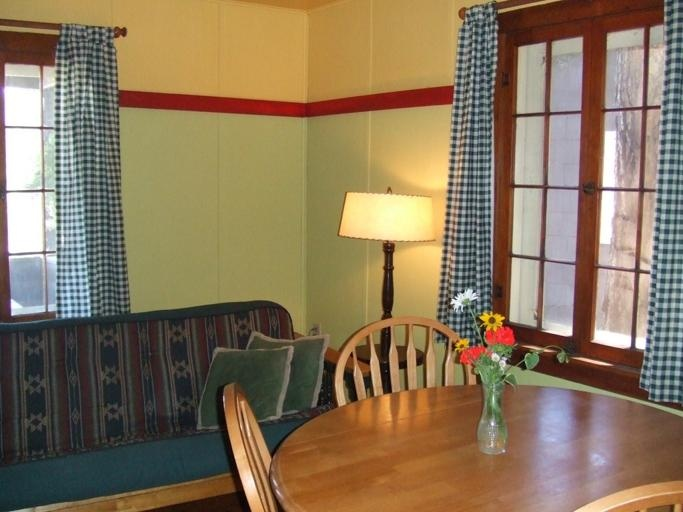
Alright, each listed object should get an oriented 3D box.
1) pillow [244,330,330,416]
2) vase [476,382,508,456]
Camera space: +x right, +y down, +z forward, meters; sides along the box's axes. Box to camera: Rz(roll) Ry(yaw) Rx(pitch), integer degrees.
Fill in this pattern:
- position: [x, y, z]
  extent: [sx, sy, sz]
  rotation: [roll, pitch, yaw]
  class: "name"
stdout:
- position: [-0.233, 0.714, 3.534]
  extent: [0.421, 0.475, 0.179]
  rotation: [4, -10, 5]
  class: "pillow"
- position: [0.557, 0.569, 2.116]
  extent: [0.105, 0.264, 0.153]
  rotation: [2, 11, 18]
  class: "vase"
